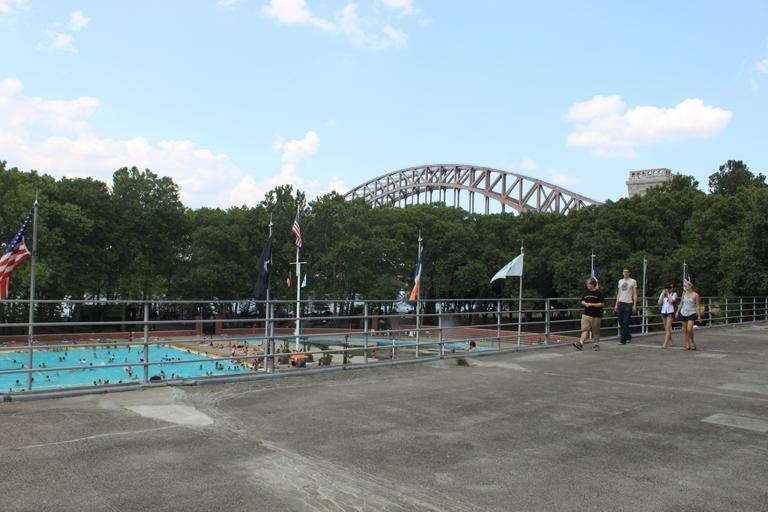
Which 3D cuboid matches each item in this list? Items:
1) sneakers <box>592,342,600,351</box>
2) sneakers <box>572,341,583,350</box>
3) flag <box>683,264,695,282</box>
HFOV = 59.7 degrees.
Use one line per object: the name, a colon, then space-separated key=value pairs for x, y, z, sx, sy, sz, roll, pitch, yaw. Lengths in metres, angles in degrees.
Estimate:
sneakers: x=6.376 y=2.744 z=20.044 sx=0.145 sy=0.158 sz=0.422 roll=-8 pitch=-19 yaw=29
sneakers: x=5.811 y=2.670 z=19.987 sx=0.179 sy=0.124 sz=0.379 roll=-20 pitch=7 yaw=6
flag: x=24.544 y=1.303 z=53.849 sx=0.792 sy=1.275 sz=1.295 roll=-3 pitch=9 yaw=12
